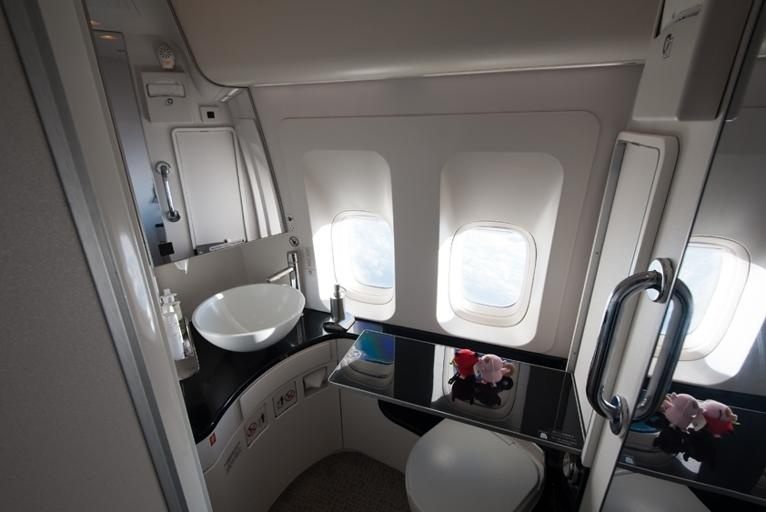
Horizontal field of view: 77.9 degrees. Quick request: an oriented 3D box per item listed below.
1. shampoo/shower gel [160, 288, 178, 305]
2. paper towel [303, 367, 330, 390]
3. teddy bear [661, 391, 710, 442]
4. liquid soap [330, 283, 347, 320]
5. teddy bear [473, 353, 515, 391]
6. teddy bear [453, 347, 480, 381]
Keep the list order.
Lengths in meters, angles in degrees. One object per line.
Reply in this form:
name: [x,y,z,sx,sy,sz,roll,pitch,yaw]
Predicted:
shampoo/shower gel: [-0.788,0.149,1.737,0.039,0.039,0.039,12,34,11]
paper towel: [-0.286,0.523,2.023,0.026,0.080,0.110,-35,-18,31]
teddy bear: [0.532,0.272,0.834,0.061,0.071,0.045,27,25,27]
liquid soap: [-0.203,0.211,2.128,0.085,0.206,0.069,-2,28,-6]
teddy bear: [0.389,0.416,1.645,0.108,0.124,0.083,5,-26,2]
teddy bear: [0.298,0.370,1.708,0.123,0.133,0.082,3,16,14]
